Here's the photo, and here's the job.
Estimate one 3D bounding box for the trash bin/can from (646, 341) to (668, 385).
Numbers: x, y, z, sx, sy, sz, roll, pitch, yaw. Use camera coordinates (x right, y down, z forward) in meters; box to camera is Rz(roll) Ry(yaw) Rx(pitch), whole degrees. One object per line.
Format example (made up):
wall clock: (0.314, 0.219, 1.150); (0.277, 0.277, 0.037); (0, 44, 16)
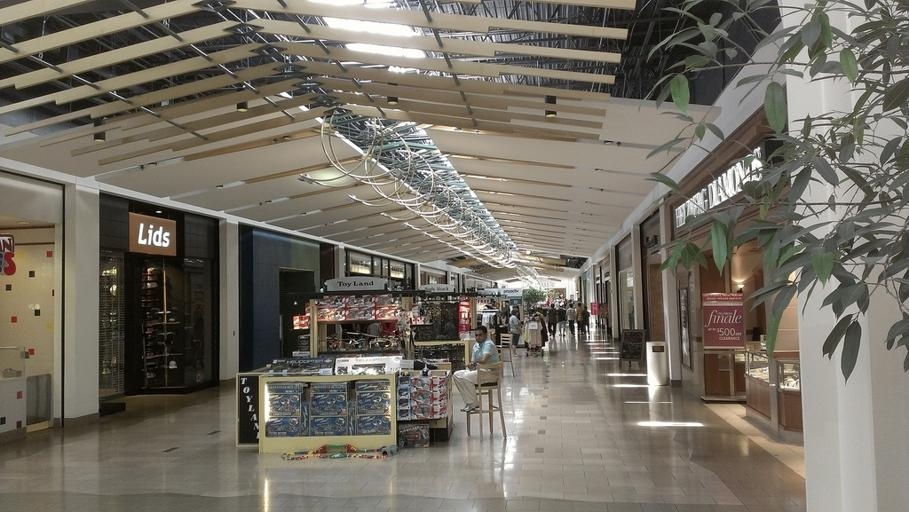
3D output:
trash bin/can: (5.012, 2.662, 14.198); (0.462, 1.109, 0.304); (-3, 0, 16)

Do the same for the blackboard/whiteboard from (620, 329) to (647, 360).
blackboard/whiteboard: (5.175, 2.576, 16.734); (0.667, 0.920, 0.321); (-3, 0, 20)

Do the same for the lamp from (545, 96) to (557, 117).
lamp: (1.639, -2.540, 9.861); (0.174, 0.313, 0.734); (-3, -1, 9)

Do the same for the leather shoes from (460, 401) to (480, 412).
leather shoes: (0.314, 2.710, 10.332); (0.456, 0.147, 0.156); (0, -5, -2)
